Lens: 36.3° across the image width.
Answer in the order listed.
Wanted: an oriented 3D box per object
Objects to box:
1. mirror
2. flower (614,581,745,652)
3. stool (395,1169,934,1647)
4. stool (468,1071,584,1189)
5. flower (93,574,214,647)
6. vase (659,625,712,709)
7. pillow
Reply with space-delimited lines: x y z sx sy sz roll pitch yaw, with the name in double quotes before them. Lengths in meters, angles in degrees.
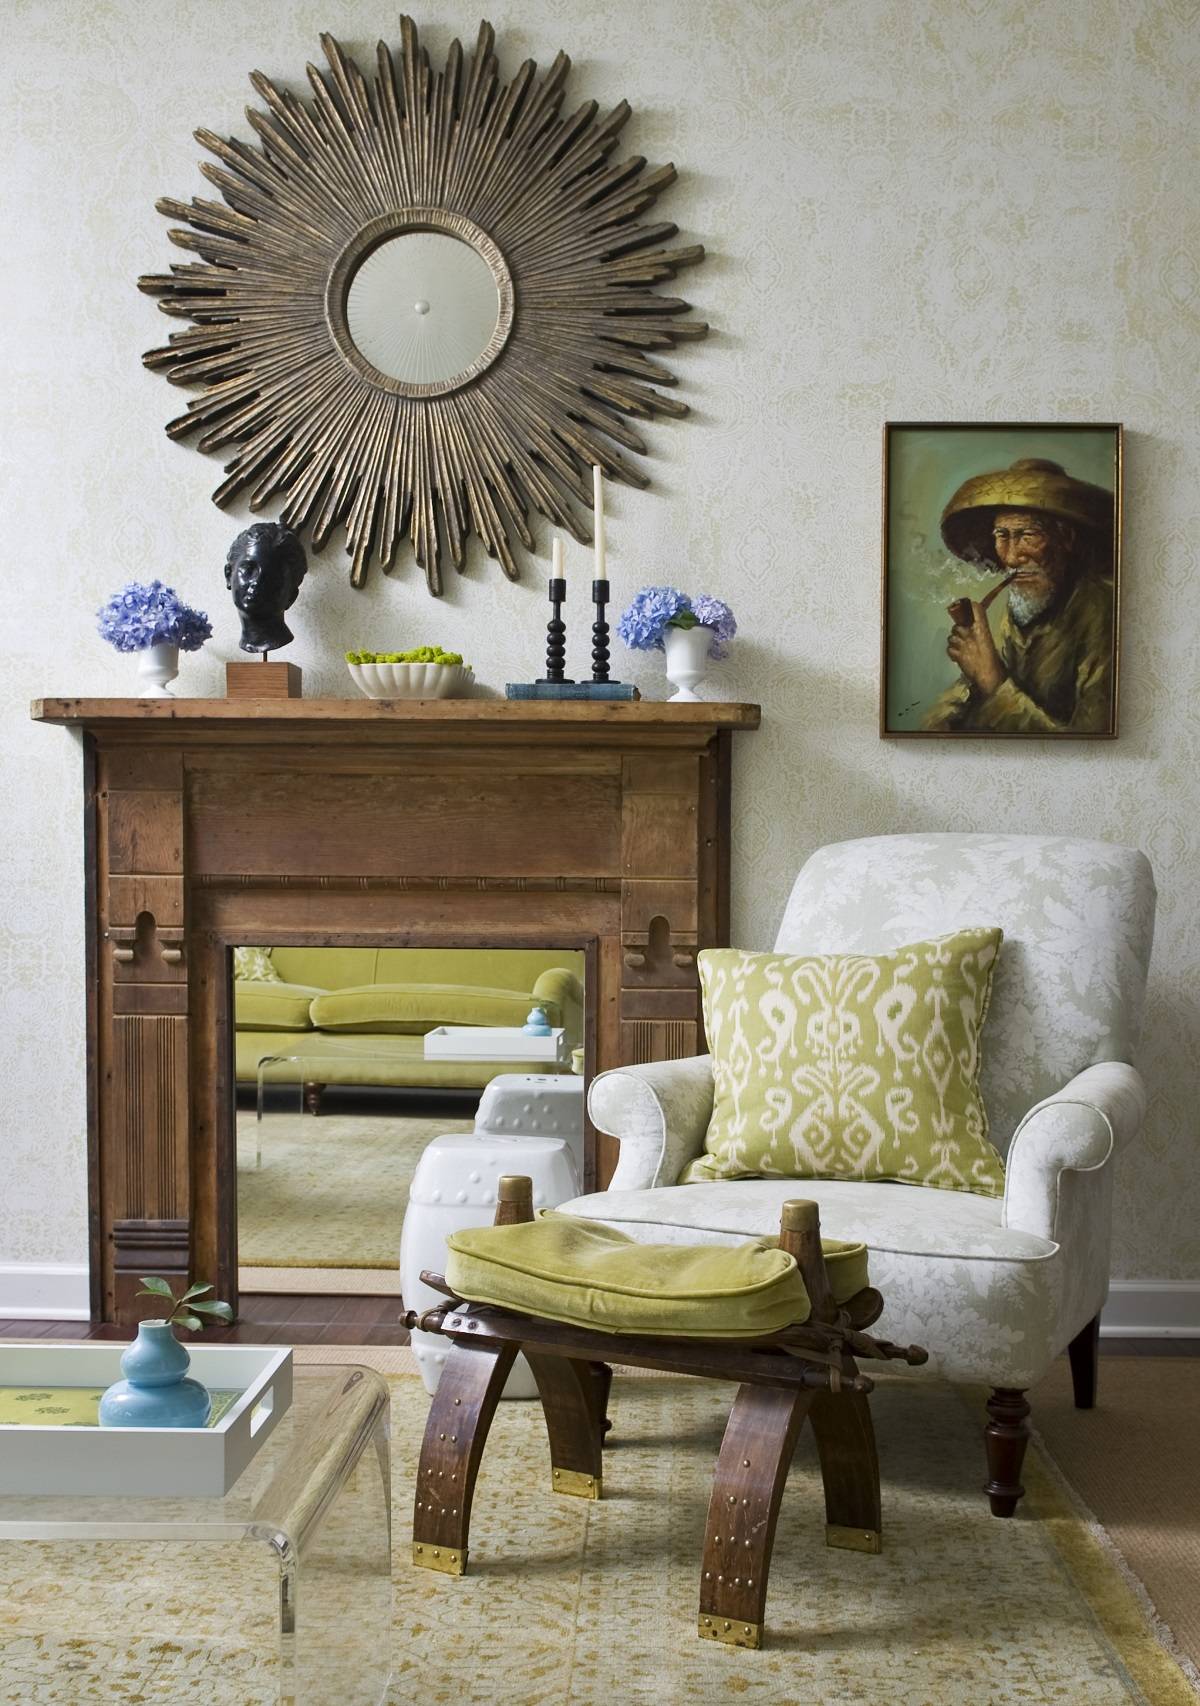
"mirror" -0.298 0.432 2.981 0.748 0.629 0.034 0 2 2
"flower" 0.133 -0.386 3.067 0.138 0.086 0.143 0 9 -41
"stool" 0.095 0.612 2.163 0.581 0.474 0.353 3 4 28
"stool" -0.114 0.466 3.074 0.217 0.156 0.199 1 -4 5
"flower" -0.747 -0.401 3.130 0.153 0.122 0.184 2 3 14
"vase" 0.161 -0.322 3.103 0.126 0.132 0.120 2 4 4
"pillow" 0.372 0.300 2.621 0.445 0.330 0.167 -6 -9 26
